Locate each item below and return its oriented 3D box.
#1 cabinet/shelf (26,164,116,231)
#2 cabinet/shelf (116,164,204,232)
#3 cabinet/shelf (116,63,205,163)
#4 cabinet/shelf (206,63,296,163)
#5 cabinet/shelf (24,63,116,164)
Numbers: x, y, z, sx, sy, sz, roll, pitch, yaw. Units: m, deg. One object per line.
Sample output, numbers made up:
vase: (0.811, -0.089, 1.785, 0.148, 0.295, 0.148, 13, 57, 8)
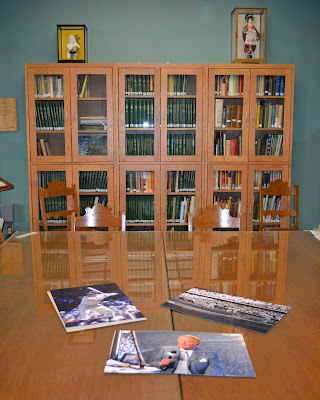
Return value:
cabinet/shelf: (-0.777, -0.053, 2.885, 0.682, 0.629, 0.239, 0, 0, -4)
cabinet/shelf: (-0.016, -0.052, 3.114, 0.674, 0.624, 0.228, 0, 3, -4)
cabinet/shelf: (-0.013, -0.847, 3.273, 0.860, 0.915, 0.327, -3, 14, -9)
cabinet/shelf: (0.851, -0.867, 3.168, 1.022, 1.139, 0.415, 0, 1, -4)
cabinet/shelf: (-0.883, -0.818, 3.317, 0.894, 0.974, 0.347, -6, 52, -15)
